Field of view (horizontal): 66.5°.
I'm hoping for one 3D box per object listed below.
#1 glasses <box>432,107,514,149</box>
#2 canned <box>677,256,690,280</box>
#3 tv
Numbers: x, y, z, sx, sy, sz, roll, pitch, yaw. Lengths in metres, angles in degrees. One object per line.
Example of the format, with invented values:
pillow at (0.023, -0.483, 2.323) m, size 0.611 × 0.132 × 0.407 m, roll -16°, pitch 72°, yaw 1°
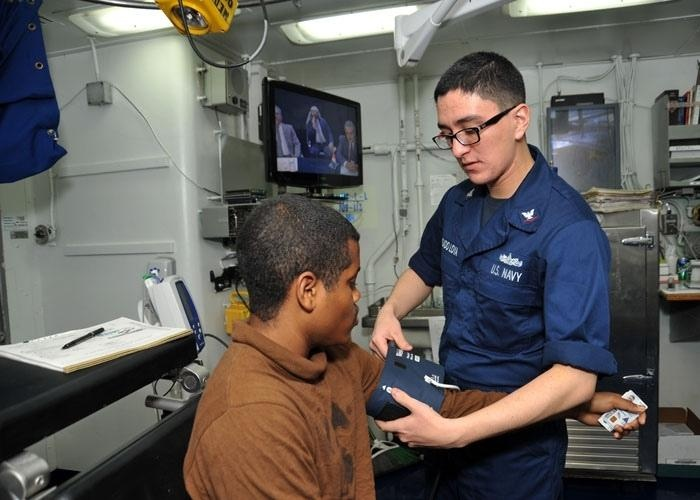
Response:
glasses at (0.513, -0.499, 2.113) m, size 0.223 × 0.060 × 0.216 m, roll -38°, pitch 11°, yaw -23°
canned at (2.470, 0.144, 3.970) m, size 0.070 × 0.154 × 0.124 m, roll 0°, pitch 5°, yaw 32°
tv at (-0.272, -0.760, 3.675) m, size 0.158 × 0.865 × 1.195 m, roll -1°, pitch 0°, yaw 36°
